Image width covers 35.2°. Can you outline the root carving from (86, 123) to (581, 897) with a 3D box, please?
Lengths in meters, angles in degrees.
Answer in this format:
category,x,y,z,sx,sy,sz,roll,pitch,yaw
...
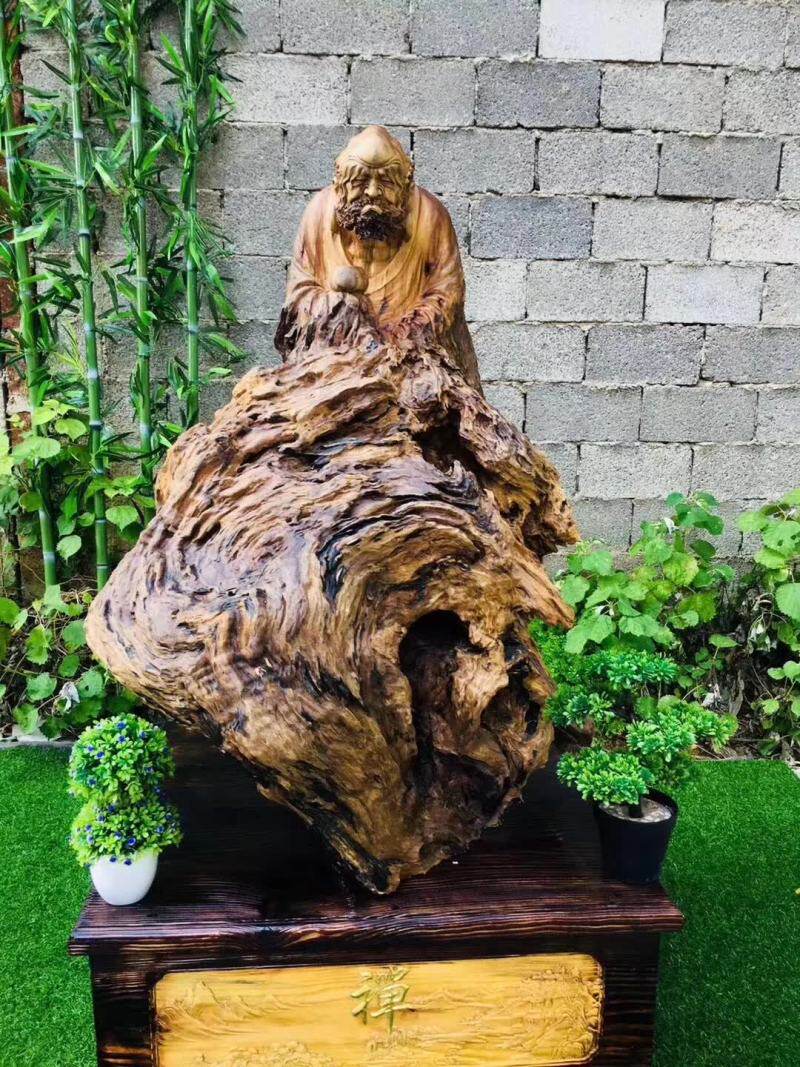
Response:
category,x,y,z,sx,sy,sz,roll,pitch,yaw
root carving,-0.222,-0.097,2.783,1.259,1.590,0.941,3,10,-20

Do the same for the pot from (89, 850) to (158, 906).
category,x,y,z,sx,sy,sz,roll,pitch,yaw
pot,-0.529,0.678,2.504,0.133,0.090,0.107,-5,44,6

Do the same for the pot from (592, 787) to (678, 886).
category,x,y,z,sx,sy,sz,roll,pitch,yaw
pot,0.480,0.631,2.630,0.189,0.137,0.164,9,15,24
